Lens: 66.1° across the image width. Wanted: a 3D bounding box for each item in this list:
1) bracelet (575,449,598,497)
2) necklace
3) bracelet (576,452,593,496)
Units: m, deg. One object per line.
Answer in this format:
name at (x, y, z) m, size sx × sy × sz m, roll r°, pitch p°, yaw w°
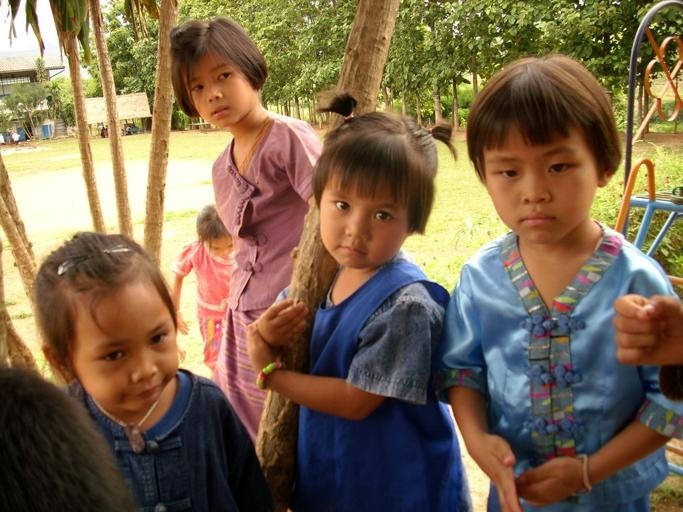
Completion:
bracelet at (0.657, 0.581, 1.418) m, size 0.027 × 0.084 × 0.066 m, roll -2°, pitch -19°, yaw 9°
necklace at (-0.618, 0.480, 1.510) m, size 0.152 × 0.161 × 0.067 m, roll -36°, pitch -29°, yaw 4°
bracelet at (0.657, 0.583, 1.418) m, size 0.020 × 0.083 × 0.064 m, roll -1°, pitch -11°, yaw 9°
